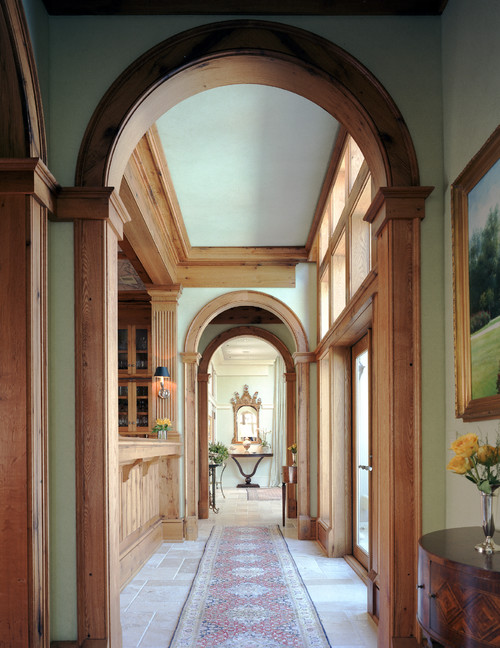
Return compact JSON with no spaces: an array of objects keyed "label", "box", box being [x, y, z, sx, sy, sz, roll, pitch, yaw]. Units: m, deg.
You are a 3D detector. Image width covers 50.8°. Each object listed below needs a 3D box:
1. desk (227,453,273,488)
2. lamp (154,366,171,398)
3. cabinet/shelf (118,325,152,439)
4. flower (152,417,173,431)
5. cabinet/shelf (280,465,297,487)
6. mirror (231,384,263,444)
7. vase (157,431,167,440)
[{"label":"desk","box":[0.099,3.756,13.563,1.430,0.996,0.751,1,-11,-4]},{"label":"lamp","box":[-1.072,0.725,6.466,0.188,0.390,0.237,0,-12,-2]},{"label":"cabinet/shelf","box":[-1.719,0.821,7.918,0.506,1.663,0.218,0,-11,-4]},{"label":"flower","box":[-1.027,1.193,6.209,0.199,0.142,0.174,2,-12,-13]},{"label":"cabinet/shelf","box":[0.515,1.998,7.173,0.252,0.344,0.359,0,-7,-1]},{"label":"mirror","box":[-0.095,2.531,14.826,0.826,1.603,0.454,0,-12,-3]},{"label":"vase","box":[-1.012,1.286,6.163,0.093,0.125,0.126,0,-6,2]}]
